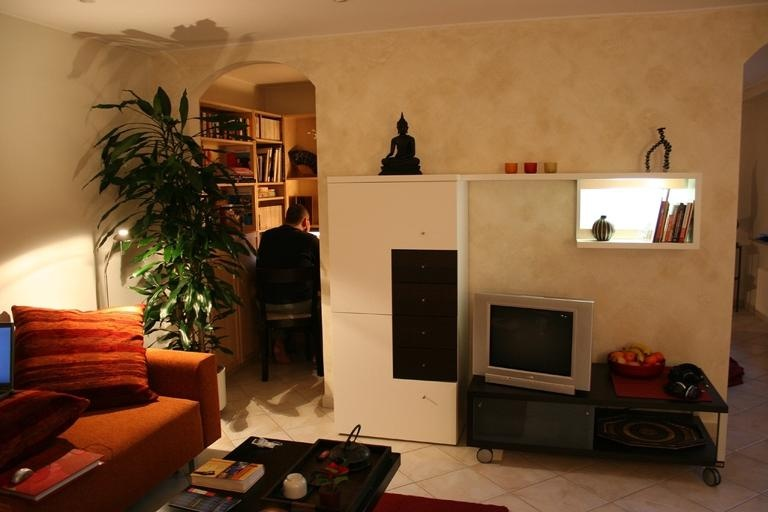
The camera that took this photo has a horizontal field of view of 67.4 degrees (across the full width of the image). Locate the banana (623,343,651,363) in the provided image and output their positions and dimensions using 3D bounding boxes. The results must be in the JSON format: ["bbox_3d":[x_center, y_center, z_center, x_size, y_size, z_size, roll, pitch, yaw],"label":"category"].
[{"bbox_3d":[1.961,0.755,4.512,0.158,0.043,0.152,-9,36,-18],"label":"banana"}]

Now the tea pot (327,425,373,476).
[{"bbox_3d":[-0.228,1.233,3.623,0.325,0.291,0.292,3,11,14],"label":"tea pot"}]

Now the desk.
[{"bbox_3d":[1.543,1.265,4.367,1.811,0.653,0.466,1,5,11],"label":"desk"}]

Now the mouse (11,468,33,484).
[{"bbox_3d":[-2.083,1.258,3.308,0.071,0.063,0.101,3,5,24],"label":"mouse"}]

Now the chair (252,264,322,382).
[{"bbox_3d":[-0.948,0.653,5.733,0.635,1.108,0.396,0,5,-12],"label":"chair"}]

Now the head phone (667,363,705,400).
[{"bbox_3d":[2.214,0.916,4.262,0.276,0.113,0.348,8,33,27],"label":"head phone"}]

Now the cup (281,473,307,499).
[{"bbox_3d":[-0.509,1.307,3.262,0.129,0.087,0.120,1,4,0],"label":"cup"}]

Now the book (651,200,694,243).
[{"bbox_3d":[2.177,-0.265,4.504,0.329,0.379,0.315,6,2,19],"label":"book"}]

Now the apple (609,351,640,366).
[{"bbox_3d":[1.856,0.779,4.509,0.125,0.052,0.122,4,10,5],"label":"apple"}]
